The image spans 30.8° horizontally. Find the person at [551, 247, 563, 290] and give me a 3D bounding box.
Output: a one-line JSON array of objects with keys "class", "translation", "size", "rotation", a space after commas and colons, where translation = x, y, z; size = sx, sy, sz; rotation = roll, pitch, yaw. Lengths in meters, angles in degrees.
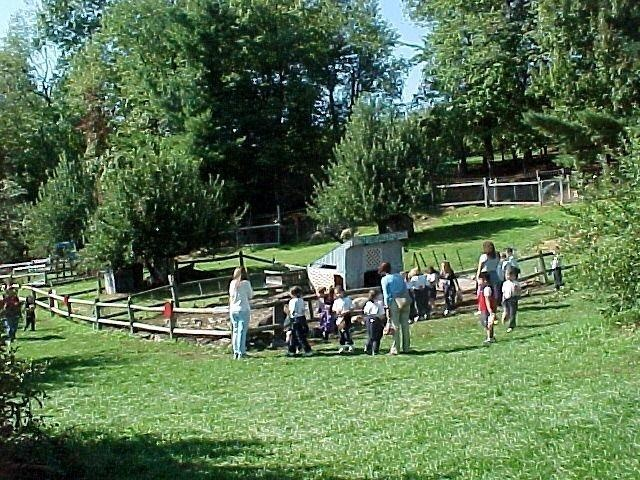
[{"class": "person", "translation": [11.052, 1.328, 53.944], "size": [0.436, 1.871, 0.700], "rotation": [-3, -5, 11]}]

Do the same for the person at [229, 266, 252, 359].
[{"class": "person", "translation": [-3.280, 3.020, 48.187], "size": [0.894, 3.711, 1.474], "rotation": [-1, -5, -8]}]

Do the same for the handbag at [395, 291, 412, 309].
[{"class": "handbag", "translation": [3.320, 2.394, 46.358], "size": [0.438, 0.439, 0.589], "rotation": [-1, -2, -13]}]

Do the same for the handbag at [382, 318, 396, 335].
[{"class": "handbag", "translation": [2.790, 3.471, 46.793], "size": [0.434, 0.602, 0.353], "rotation": [-2, -5, 1]}]
